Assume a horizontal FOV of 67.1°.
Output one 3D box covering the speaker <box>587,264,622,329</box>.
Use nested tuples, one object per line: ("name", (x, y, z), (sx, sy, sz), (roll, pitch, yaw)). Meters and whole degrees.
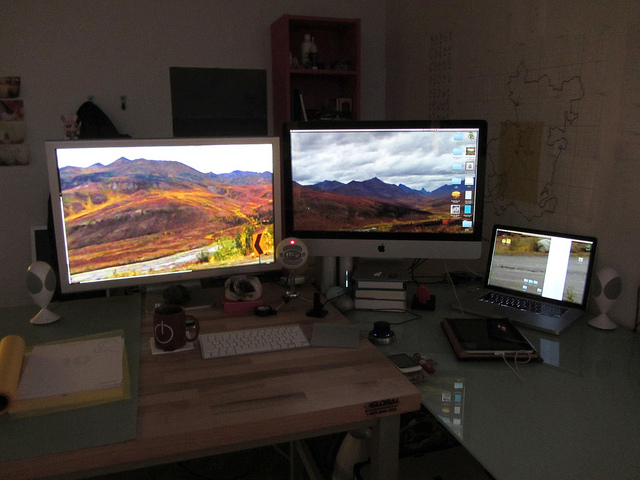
("speaker", (1.063, 0.203, 1.790), (0.102, 0.231, 0.098), (6, 17, 28))

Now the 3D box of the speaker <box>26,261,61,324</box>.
("speaker", (-0.992, 0.181, 1.723), (0.114, 0.214, 0.114), (-3, 8, -25))

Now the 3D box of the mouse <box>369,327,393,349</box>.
("mouse", (0.213, 0.327, 1.636), (0.068, 0.059, 0.069), (-2, 12, -1))

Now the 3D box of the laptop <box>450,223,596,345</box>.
("laptop", (0.777, 0.131, 1.841), (0.395, 0.286, 0.441), (-10, 13, -31))

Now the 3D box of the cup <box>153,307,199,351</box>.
("cup", (-0.455, 0.287, 1.544), (0.147, 0.109, 0.092), (-3, -2, 4))
